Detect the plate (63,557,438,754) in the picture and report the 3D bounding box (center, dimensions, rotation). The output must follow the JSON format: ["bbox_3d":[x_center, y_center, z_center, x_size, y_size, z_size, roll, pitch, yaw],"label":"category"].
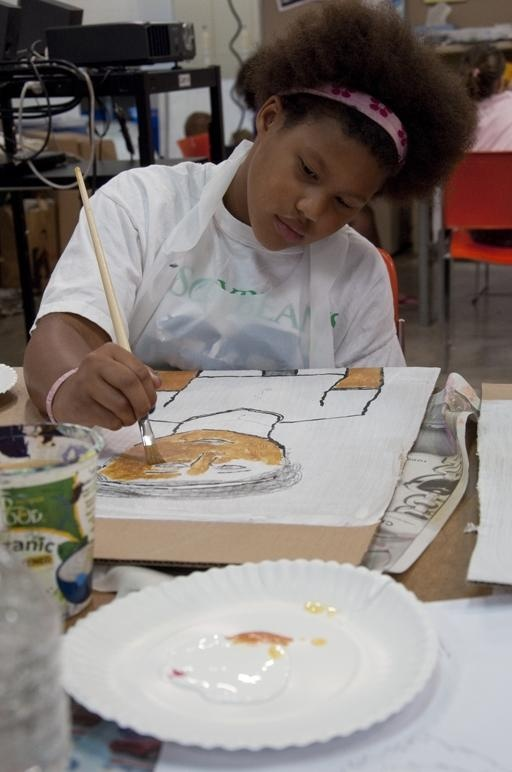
[{"bbox_3d":[-0.002,0.123,0.331,0.168,0.024,0.142,0,9,20],"label":"plate"}]

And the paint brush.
[{"bbox_3d":[-0.157,-0.088,0.811,0.023,0.437,0.023,-20,-15,-13],"label":"paint brush"}]
